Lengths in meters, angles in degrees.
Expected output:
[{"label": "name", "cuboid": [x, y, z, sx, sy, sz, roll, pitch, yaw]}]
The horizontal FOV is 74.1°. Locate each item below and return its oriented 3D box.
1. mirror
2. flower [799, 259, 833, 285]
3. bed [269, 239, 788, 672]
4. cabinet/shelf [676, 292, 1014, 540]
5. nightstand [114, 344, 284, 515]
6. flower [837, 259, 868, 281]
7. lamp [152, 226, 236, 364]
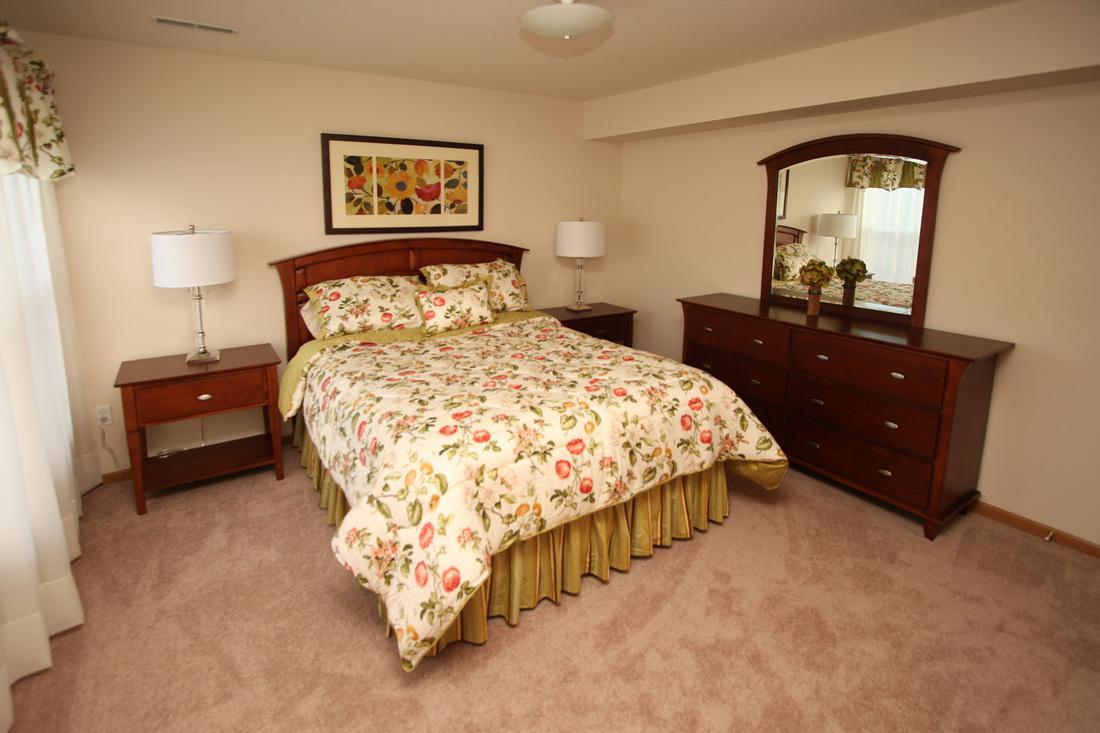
[{"label": "mirror", "cuboid": [2.197, -0.946, 5.042, 0.134, 1.263, 1.345, -13, 18, -38]}, {"label": "flower", "cuboid": [1.918, -0.692, 5.269, 0.196, 0.191, 0.194, 0, 10, -2]}, {"label": "bed", "cuboid": [-0.710, 0.261, 4.660, 2.007, 1.196, 2.539, -12, 22, -31]}, {"label": "cabinet/shelf", "cuboid": [1.958, 0.194, 5.375, 0.775, 1.221, 2.221, -12, 22, -37]}, {"label": "nightstand", "cuboid": [-2.423, 0.373, 5.118, 0.992, 0.909, 0.612, -8, 22, -24]}, {"label": "flower", "cuboid": [2.132, -0.679, 5.127, 0.161, 0.160, 0.159, -3, 9, -17]}, {"label": "lamp", "cuboid": [-2.419, -0.500, 4.978, 0.497, 0.894, 0.470, -9, 16, -27]}]
